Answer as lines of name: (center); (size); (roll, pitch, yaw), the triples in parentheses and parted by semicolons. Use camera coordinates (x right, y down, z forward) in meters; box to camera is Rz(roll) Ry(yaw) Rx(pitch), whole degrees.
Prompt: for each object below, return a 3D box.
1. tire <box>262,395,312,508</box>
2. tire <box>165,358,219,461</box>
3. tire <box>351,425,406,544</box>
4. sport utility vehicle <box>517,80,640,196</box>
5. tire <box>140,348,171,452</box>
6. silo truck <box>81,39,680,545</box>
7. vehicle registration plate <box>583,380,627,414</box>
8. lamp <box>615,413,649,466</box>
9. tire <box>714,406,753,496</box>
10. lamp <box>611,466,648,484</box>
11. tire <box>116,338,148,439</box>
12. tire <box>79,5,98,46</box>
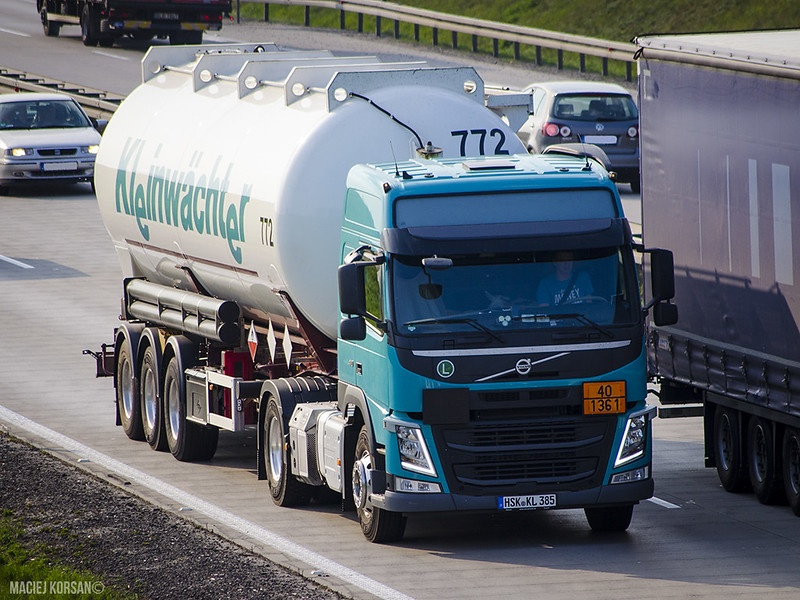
tire: (-1.313, 1.737, 20.054); (0.210, 0.971, 0.946); (-3, -33, -18)
tire: (-2.429, 1.318, 21.827); (0.315, 1.095, 1.019); (-3, 7, -24)
tire: (-0.193, 1.839, 18.354); (0.422, 0.995, 1.067); (2, -5, -13)
sport utility vehicle: (3.472, -3.315, 36.554); (1.852, 1.713, 3.441); (-1, 18, -3)
tire: (-3.016, 1.256, 22.552); (0.220, 0.978, 0.969); (0, -42, -20)
silo truck: (-0.538, -0.360, 21.619); (3.078, 4.489, 8.782); (-3, 6, -25)
vehicle registration plate: (1.969, 0.952, 18.112); (0.296, 0.232, 0.033); (-2, 9, -13)
lamp: (2.287, 1.395, 18.291); (0.133, 0.488, 0.353); (13, 13, 36)
tire: (3.628, 1.582, 20.366); (0.252, 0.905, 0.859); (-4, -13, -8)
lamp: (2.257, 1.751, 18.302); (0.224, 0.090, 0.183); (-10, -2, 8)
tire: (-3.379, 1.176, 23.069); (0.217, 0.993, 0.930); (-1, -1, -18)
tire: (-8.984, -7.977, 53.623); (0.292, 0.909, 0.854); (-5, -5, -14)
